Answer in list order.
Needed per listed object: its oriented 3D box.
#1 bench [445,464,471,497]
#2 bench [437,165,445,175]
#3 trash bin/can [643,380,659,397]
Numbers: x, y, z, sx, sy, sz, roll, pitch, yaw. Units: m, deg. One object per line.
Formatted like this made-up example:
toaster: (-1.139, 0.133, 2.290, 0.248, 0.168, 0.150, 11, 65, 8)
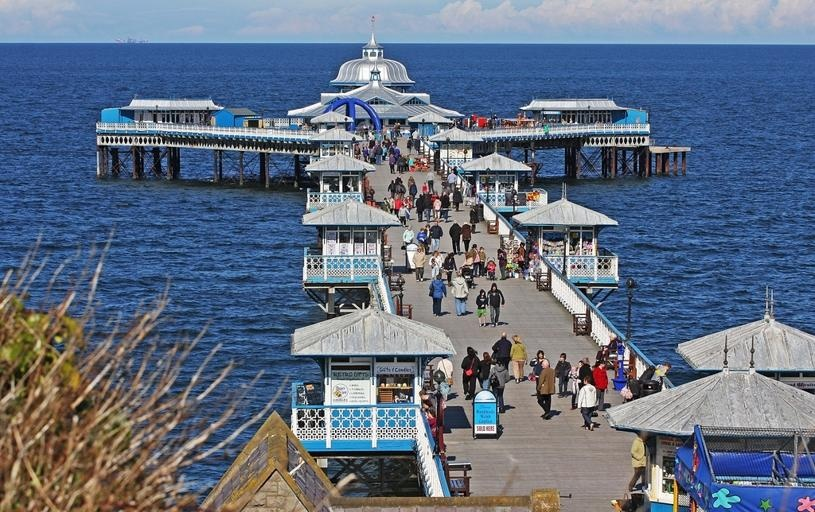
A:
bench: (3.064, 13.497, 126.177, 1.714, 2.235, 1.748, 0, 22, 1)
bench: (2.705, -6.809, 167.069, 0.739, 0.466, 0.688, 0, 6, 3)
trash bin/can: (14.684, 7.945, 128.283, 0.949, 0.841, 0.903, 3, -4, -43)
